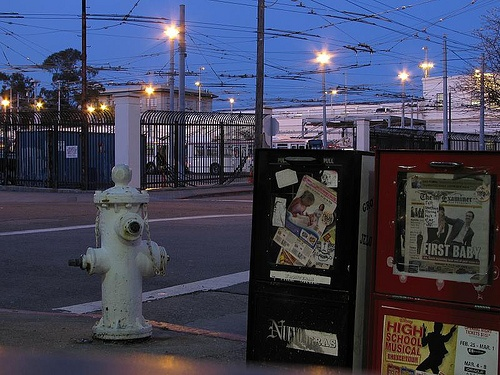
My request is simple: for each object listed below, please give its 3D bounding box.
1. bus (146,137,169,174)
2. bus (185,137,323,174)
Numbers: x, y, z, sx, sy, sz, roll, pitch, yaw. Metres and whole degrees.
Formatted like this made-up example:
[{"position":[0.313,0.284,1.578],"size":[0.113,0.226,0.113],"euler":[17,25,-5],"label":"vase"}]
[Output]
[{"position":[-3.399,-1.175,27.767],"size":[0.078,1.351,1.267],"euler":[-3,-5,26],"label":"bus"},{"position":[-1.044,-1.250,31.212],"size":[1.338,1.432,4.578],"euler":[5,5,26],"label":"bus"}]
